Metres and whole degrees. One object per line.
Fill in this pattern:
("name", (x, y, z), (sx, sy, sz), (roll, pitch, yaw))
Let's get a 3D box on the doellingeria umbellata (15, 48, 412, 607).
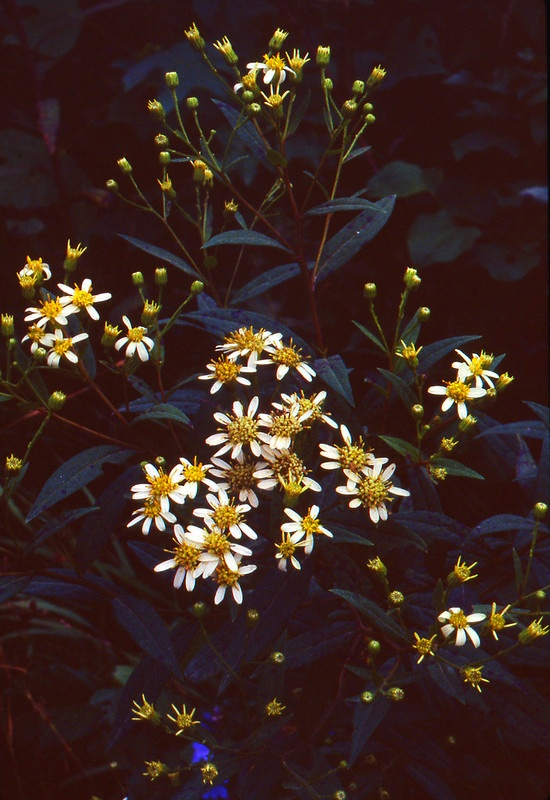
("doellingeria umbellata", (-0.135, -0.142, 1.455), (0.791, 0.394, 0.946), (4, 70, -12))
